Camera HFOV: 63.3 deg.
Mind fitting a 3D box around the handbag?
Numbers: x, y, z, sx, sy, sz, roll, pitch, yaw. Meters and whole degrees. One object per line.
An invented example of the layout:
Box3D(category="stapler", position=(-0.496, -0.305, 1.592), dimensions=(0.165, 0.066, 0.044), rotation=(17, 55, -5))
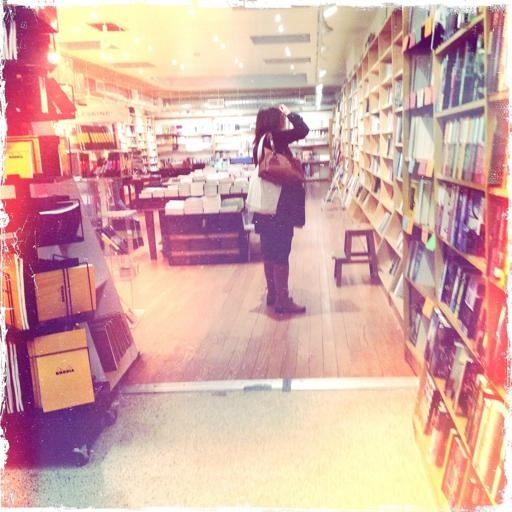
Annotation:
Box3D(category="handbag", position=(0.186, -0.680, 3.477), dimensions=(0.371, 0.876, 0.778), rotation=(4, 20, 14))

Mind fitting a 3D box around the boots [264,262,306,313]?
Box3D(category="boots", position=(0.259, 0.315, 3.892), dimensions=(0.302, 0.491, 0.167), rotation=(-4, 30, -3))
